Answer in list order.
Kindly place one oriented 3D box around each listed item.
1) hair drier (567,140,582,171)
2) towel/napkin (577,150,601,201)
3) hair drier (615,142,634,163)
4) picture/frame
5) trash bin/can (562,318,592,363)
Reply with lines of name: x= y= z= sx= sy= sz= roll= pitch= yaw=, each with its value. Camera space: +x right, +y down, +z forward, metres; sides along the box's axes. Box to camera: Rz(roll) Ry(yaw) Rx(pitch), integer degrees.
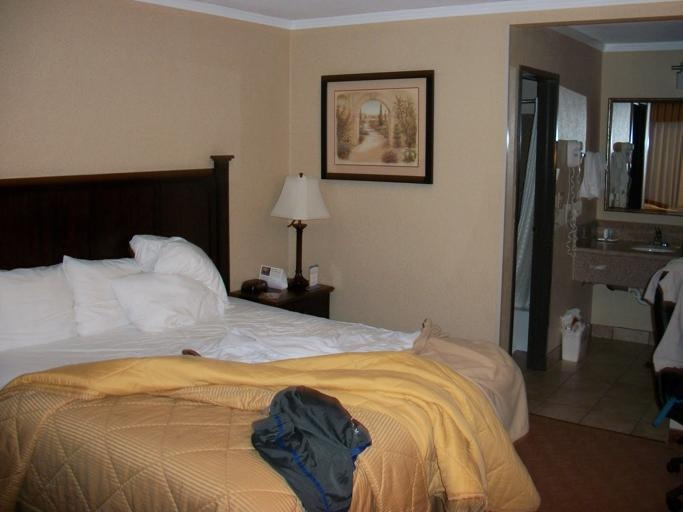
hair drier: x=2.318 y=-0.999 z=5.513 sx=0.083 sy=0.248 sz=0.396 roll=9 pitch=15 yaw=37
towel/napkin: x=2.650 y=-0.850 z=5.905 sx=0.375 sy=0.432 sz=0.116 roll=-1 pitch=-1 yaw=-43
hair drier: x=3.067 y=-1.136 z=6.060 sx=0.180 sy=0.228 sz=0.152 roll=2 pitch=9 yaw=27
picture/frame: x=0.367 y=-1.167 z=5.039 sx=0.940 sy=0.884 sz=0.040 roll=6 pitch=11 yaw=35
trash bin/can: x=2.434 y=0.888 z=5.698 sx=0.181 sy=0.206 sz=0.272 roll=22 pitch=-11 yaw=6
